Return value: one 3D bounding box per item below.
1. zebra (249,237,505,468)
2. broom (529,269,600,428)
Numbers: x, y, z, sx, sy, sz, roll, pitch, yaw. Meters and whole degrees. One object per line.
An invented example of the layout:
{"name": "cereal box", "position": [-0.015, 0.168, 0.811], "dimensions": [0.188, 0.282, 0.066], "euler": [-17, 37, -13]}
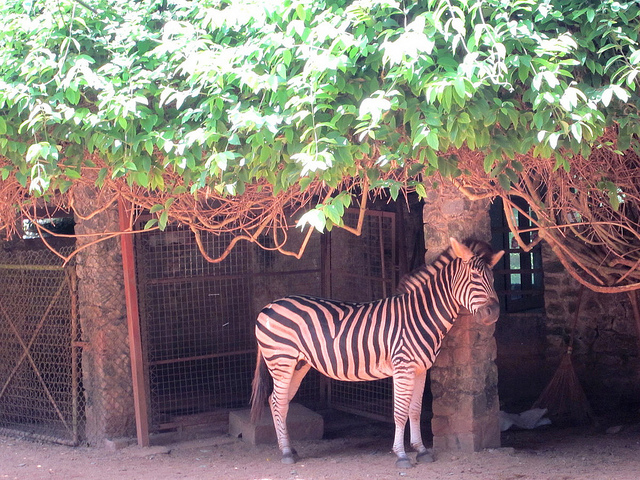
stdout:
{"name": "zebra", "position": [0.507, 1.002, 6.670], "dimensions": [2.256, 2.018, 0.679], "euler": [-1, 6, 19]}
{"name": "broom", "position": [2.826, 1.192, 8.407], "dimensions": [0.685, 2.002, 0.837], "euler": [10, -19, 7]}
